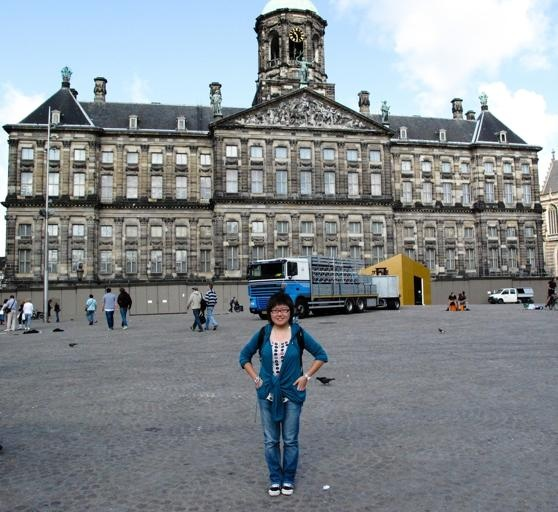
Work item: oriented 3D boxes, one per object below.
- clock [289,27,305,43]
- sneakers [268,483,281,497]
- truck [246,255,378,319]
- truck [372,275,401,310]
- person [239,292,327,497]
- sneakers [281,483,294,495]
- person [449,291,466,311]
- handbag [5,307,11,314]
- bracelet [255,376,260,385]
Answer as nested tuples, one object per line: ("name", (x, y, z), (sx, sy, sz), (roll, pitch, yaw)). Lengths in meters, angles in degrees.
("clock", (1.909, -23.743, 61.861), (1.387, 1.683, 0.071), (-2, 18, 7))
("sneakers", (-0.058, 2.225, 5.500), (0.135, 0.097, 0.133), (-2, -3, 15))
("truck", (1.973, 1.785, 34.437), (3.062, 3.611, 8.860), (-10, -13, 40))
("truck", (7.194, 2.695, 41.743), (2.657, 2.370, 1.589), (3, -9, -32))
("person", (0.031, 1.325, 5.747), (0.835, 1.923, 0.526), (-1, -2, -5))
("sneakers", (0.081, 2.227, 5.520), (0.134, 0.097, 0.101), (-1, -2, -14))
("person", (13.174, 3.351, 42.544), (0.730, 1.560, 1.280), (-5, -24, 16))
("handbag", (-13.721, 2.773, 29.111), (0.362, 0.267, 0.166), (-3, -3, 32))
("bracelet", (-0.222, 1.238, 5.720), (0.057, 0.070, 0.025), (2, -4, -2))
